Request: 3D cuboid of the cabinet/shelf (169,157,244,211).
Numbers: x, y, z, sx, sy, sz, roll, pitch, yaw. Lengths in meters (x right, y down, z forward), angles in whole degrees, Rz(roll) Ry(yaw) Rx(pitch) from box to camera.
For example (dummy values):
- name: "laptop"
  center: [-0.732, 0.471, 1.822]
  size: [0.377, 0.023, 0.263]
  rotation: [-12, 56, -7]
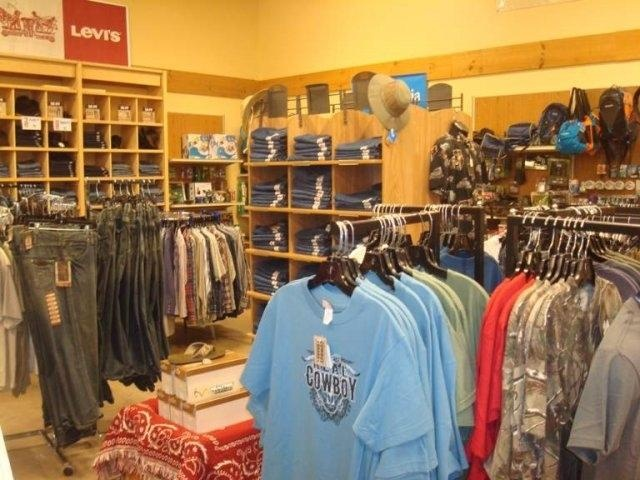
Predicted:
- name: "cabinet/shelf"
  center: [-1.991, -0.958, 8.422]
  size: [1.103, 0.800, 0.618]
  rotation: [-4, 4, -29]

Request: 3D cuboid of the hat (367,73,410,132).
- name: "hat"
  center: [0.610, -1.198, 4.294]
  size: [0.348, 0.503, 0.357]
  rotation: [0, 7, 12]

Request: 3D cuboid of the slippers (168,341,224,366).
- name: "slippers"
  center: [-0.684, 0.632, 2.683]
  size: [0.123, 0.064, 0.229]
  rotation: [6, 7, 42]

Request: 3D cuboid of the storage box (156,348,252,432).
- name: "storage box"
  center: [-0.600, 0.648, 2.599]
  size: [0.360, 0.364, 0.507]
  rotation: [3, 5, 44]
